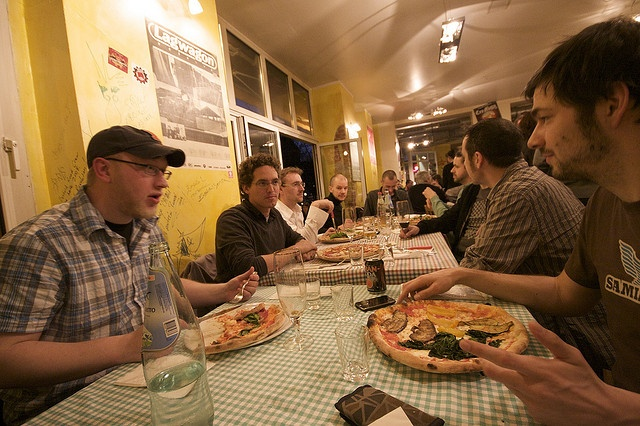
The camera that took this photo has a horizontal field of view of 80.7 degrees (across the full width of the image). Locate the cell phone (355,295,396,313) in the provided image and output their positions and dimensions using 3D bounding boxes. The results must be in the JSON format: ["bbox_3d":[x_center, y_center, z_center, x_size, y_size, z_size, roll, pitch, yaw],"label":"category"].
[{"bbox_3d":[0.280,0.469,1.923,0.239,0.023,0.138,-10,9,-28],"label":"cell phone"}]

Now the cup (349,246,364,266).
[{"bbox_3d":[0.225,0.274,2.381,0.107,0.118,0.110,-1,-4,0],"label":"cup"}]

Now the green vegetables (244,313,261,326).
[{"bbox_3d":[-0.336,0.534,1.866,0.051,0.019,0.048,-3,34,-14],"label":"green vegetables"}]

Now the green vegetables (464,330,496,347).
[{"bbox_3d":[0.694,0.542,1.618,0.076,0.024,0.057,-4,1,37],"label":"green vegetables"}]

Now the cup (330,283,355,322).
[{"bbox_3d":[0.114,0.457,1.913,0.112,0.142,0.103,-1,-4,0],"label":"cup"}]

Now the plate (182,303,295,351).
[{"bbox_3d":[-0.371,0.559,1.869,0.446,0.050,0.443,-14,13,-27],"label":"plate"}]

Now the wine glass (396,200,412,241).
[{"bbox_3d":[0.841,0.094,3.803,0.156,0.454,0.158,-16,14,-40],"label":"wine glass"}]
